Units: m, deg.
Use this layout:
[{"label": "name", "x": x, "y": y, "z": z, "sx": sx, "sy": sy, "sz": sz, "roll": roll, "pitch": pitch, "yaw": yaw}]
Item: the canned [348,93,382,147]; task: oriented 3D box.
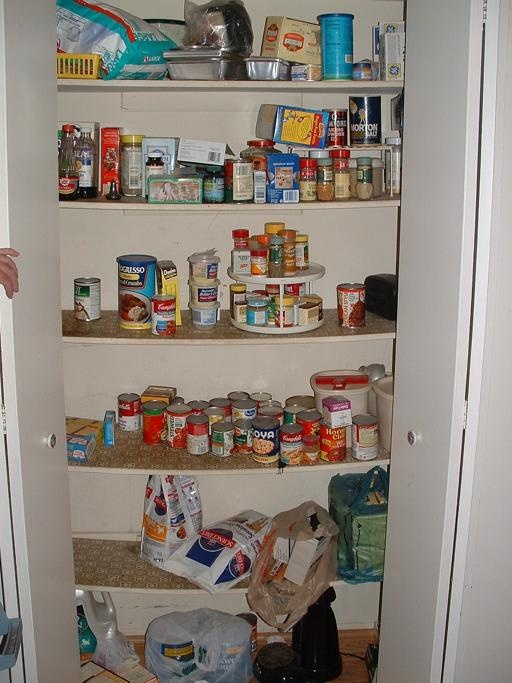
[{"label": "canned", "x": 0.330, "y": -0.667, "z": 1.723, "sx": 0.131, "sy": 0.156, "sz": 0.133, "roll": -9, "pitch": 20, "yaw": -19}]

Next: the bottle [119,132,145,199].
[{"label": "bottle", "x": -0.376, "y": -0.530, "z": 1.733, "sx": 0.069, "sy": 0.176, "sz": 0.085, "roll": -5, "pitch": 10, "yaw": -19}]

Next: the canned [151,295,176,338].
[{"label": "canned", "x": -0.281, "y": -0.079, "z": 1.733, "sx": 0.073, "sy": 0.122, "sz": 0.068, "roll": -4, "pitch": 10, "yaw": -13}]

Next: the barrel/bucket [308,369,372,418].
[{"label": "barrel/bucket", "x": 0.282, "y": 0.156, "z": 1.892, "sx": 0.146, "sy": 0.116, "sz": 0.149, "roll": -1, "pitch": 7, "yaw": 0}]

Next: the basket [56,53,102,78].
[{"label": "basket", "x": -0.483, "y": -0.752, "z": 1.556, "sx": 0.099, "sy": 0.048, "sz": 0.068, "roll": 4, "pitch": 32, "yaw": -5}]

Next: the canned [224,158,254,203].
[{"label": "canned", "x": -0.036, "y": -0.466, "z": 1.664, "sx": 0.102, "sy": 0.125, "sz": 0.107, "roll": 1, "pitch": 6, "yaw": 1}]

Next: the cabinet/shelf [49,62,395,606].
[{"label": "cabinet/shelf", "x": -0.306, "y": 0.073, "z": 2.252, "sx": 1.144, "sy": 1.185, "sz": 0.339, "roll": 13, "pitch": 31, "yaw": 30}]

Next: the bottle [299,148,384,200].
[{"label": "bottle", "x": 0.263, "y": -0.501, "z": 1.729, "sx": 0.267, "sy": 0.153, "sz": 0.141, "roll": -2, "pitch": 10, "yaw": 0}]

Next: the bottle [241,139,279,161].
[{"label": "bottle", "x": 0.020, "y": -0.567, "z": 1.710, "sx": 0.089, "sy": 0.083, "sz": 0.093, "roll": 0, "pitch": 10, "yaw": -2}]

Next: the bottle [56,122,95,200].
[{"label": "bottle", "x": -0.528, "y": -0.528, "z": 1.682, "sx": 0.101, "sy": 0.220, "sz": 0.163, "roll": -2, "pitch": 10, "yaw": -4}]

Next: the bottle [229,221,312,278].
[{"label": "bottle", "x": 0.067, "y": -0.268, "z": 1.759, "sx": 0.190, "sy": 0.133, "sz": 0.178, "roll": 0, "pitch": 12, "yaw": 0}]
